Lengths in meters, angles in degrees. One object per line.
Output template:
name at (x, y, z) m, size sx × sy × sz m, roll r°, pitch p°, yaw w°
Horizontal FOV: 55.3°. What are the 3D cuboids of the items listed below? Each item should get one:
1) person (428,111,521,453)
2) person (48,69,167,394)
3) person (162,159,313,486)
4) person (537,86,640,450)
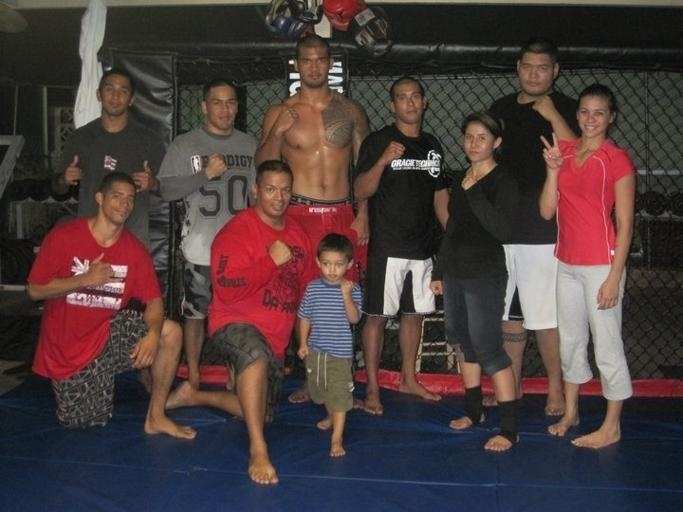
person at (0.927, 0.145, 4.181) m, size 0.450 × 2.049 × 0.819 m, roll -4°, pitch 15°, yaw -15°
person at (-1.821, -0.320, 5.125) m, size 0.830 × 2.151 × 0.674 m, roll -2°, pitch 30°, yaw -25°
person at (-0.521, 0.320, 4.020) m, size 0.673 × 1.715 × 1.025 m, roll 0°, pitch 14°, yaw 1°
person at (1.575, 0.038, 4.192) m, size 0.545 × 2.198 × 0.784 m, roll -5°, pitch 15°, yaw -21°
